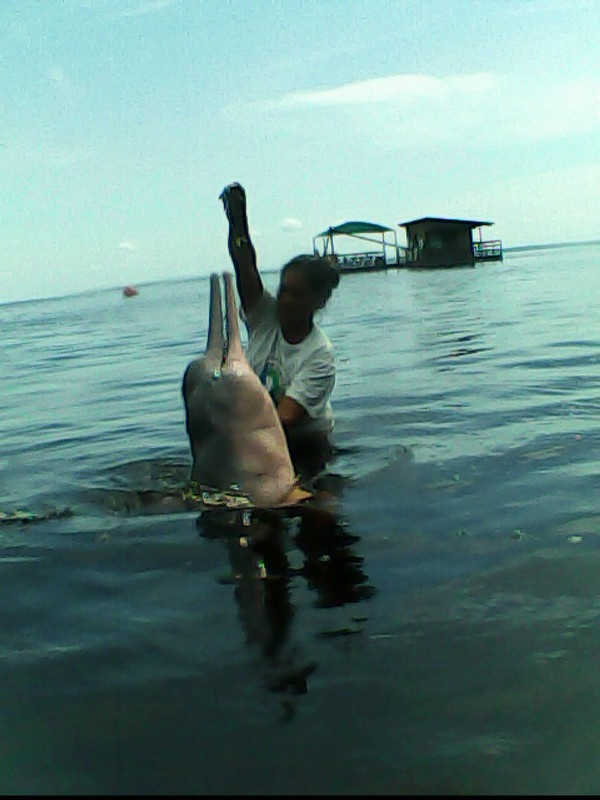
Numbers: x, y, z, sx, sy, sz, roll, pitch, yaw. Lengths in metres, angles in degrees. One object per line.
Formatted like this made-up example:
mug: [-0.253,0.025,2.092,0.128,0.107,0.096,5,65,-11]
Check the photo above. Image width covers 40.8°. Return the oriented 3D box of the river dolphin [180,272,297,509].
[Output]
river dolphin: [-0.226,-0.020,2.754,0.277,0.815,0.355,4,16,34]
